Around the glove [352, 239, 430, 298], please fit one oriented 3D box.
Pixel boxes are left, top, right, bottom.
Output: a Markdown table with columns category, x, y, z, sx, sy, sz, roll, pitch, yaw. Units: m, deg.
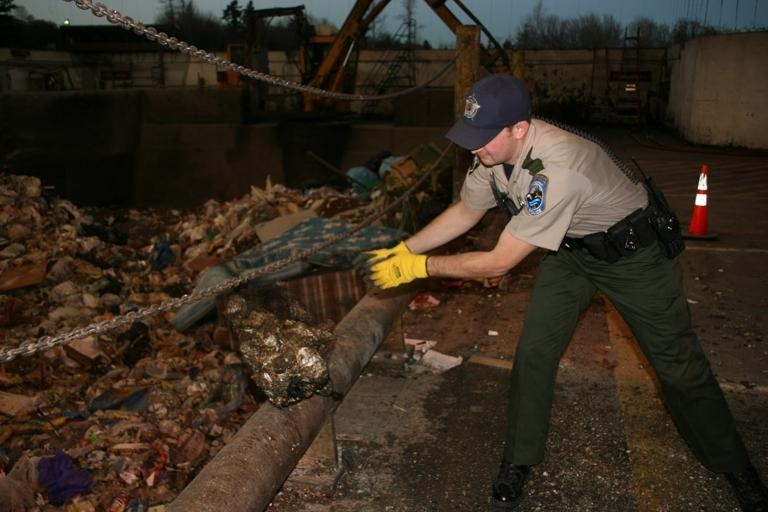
| category | x | y | z | sx | sy | sz | roll | pitch | yaw |
| --- | --- | --- | --- | --- | --- | --- | --- | --- | --- |
| glove | 0.078 | 0.102 | 3.894 | 0.515 | 0.217 | 0.337 | 7 | 53 | 31 |

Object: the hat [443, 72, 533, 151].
| category | x | y | z | sx | sy | sz | roll | pitch | yaw |
| --- | --- | --- | --- | --- | --- | --- | --- | --- | --- |
| hat | 0.650 | -0.905 | 3.357 | 0.576 | 0.301 | 0.368 | -35 | 48 | 2 |

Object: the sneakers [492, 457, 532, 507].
| category | x | y | z | sx | sy | sz | roll | pitch | yaw |
| --- | --- | --- | --- | --- | --- | --- | --- | --- | --- |
| sneakers | 0.845 | 1.519 | 3.555 | 0.151 | 0.174 | 0.376 | 6 | 11 | 25 |
